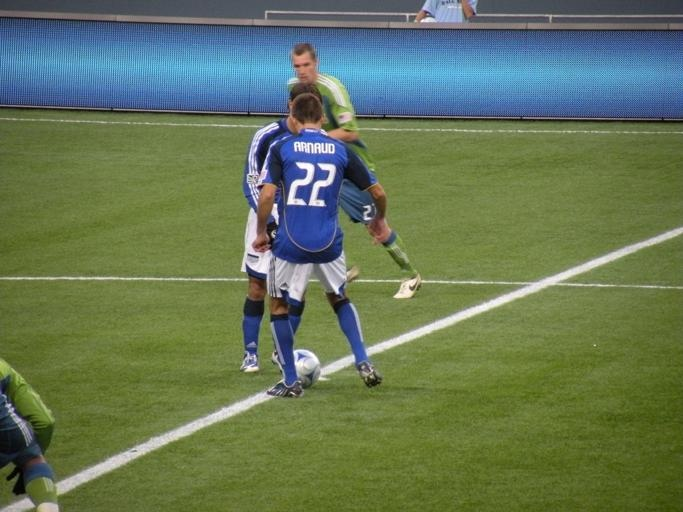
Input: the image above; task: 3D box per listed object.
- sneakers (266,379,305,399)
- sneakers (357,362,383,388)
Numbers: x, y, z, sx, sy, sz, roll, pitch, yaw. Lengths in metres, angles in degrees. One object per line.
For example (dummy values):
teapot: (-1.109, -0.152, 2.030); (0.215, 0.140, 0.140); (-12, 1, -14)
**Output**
sneakers: (-0.499, 1.214, 12.015); (0.319, 0.118, 0.136); (1, 0, 5)
sneakers: (0.251, 1.058, 12.025); (0.154, 0.106, 0.252); (-34, 52, -5)
